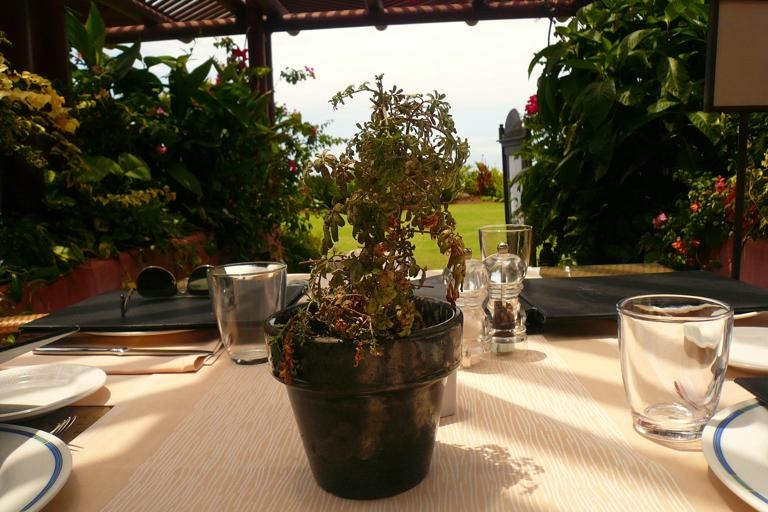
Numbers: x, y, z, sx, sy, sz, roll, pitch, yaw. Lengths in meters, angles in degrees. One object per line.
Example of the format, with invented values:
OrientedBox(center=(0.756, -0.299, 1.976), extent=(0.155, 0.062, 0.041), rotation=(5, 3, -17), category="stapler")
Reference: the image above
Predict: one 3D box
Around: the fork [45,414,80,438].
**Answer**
OrientedBox(center=(-0.539, 0.285, 0.962), extent=(0.012, 0.011, 0.071), rotation=(9, 29, 25), category="fork")

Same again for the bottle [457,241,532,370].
OrientedBox(center=(0.174, 0.112, 1.110), extent=(0.165, 0.281, 0.190), rotation=(0, -4, 4), category="bottle")

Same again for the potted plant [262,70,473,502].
OrientedBox(center=(-0.017, 0.020, 0.880), extent=(0.301, 0.620, 0.295), rotation=(9, 14, 42), category="potted plant")

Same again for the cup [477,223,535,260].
OrientedBox(center=(0.270, -0.027, 1.258), extent=(0.078, 0.100, 0.088), rotation=(0, -1, -5), category="cup")

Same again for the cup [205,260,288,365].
OrientedBox(center=(-0.269, 0.103, 1.242), extent=(0.184, 0.233, 0.192), rotation=(-2, 9, 0), category="cup")

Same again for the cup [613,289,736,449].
OrientedBox(center=(0.457, 0.179, 0.910), extent=(0.158, 0.226, 0.096), rotation=(-1, 8, 26), category="cup")
